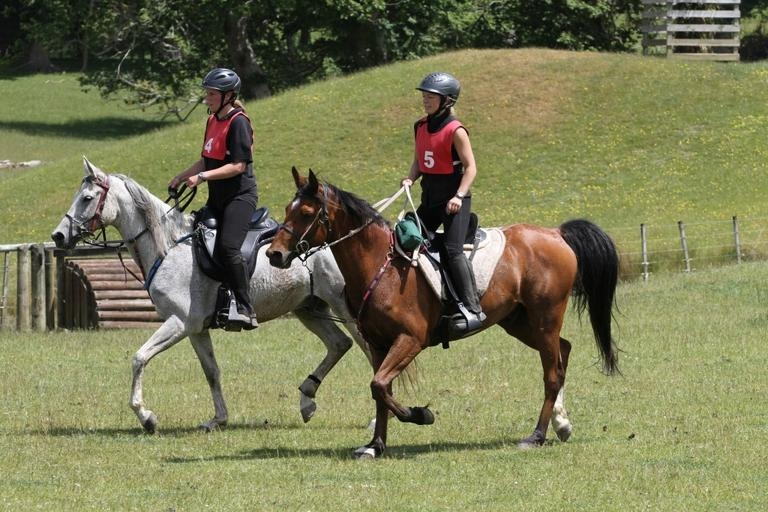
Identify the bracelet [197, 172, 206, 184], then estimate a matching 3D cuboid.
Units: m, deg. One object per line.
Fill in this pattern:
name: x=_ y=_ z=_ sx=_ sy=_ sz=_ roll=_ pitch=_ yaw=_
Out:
bracelet: x=-6.496 y=-2.819 z=58.008 sx=0.229 sy=0.352 sz=0.331 roll=0 pitch=4 yaw=-14
